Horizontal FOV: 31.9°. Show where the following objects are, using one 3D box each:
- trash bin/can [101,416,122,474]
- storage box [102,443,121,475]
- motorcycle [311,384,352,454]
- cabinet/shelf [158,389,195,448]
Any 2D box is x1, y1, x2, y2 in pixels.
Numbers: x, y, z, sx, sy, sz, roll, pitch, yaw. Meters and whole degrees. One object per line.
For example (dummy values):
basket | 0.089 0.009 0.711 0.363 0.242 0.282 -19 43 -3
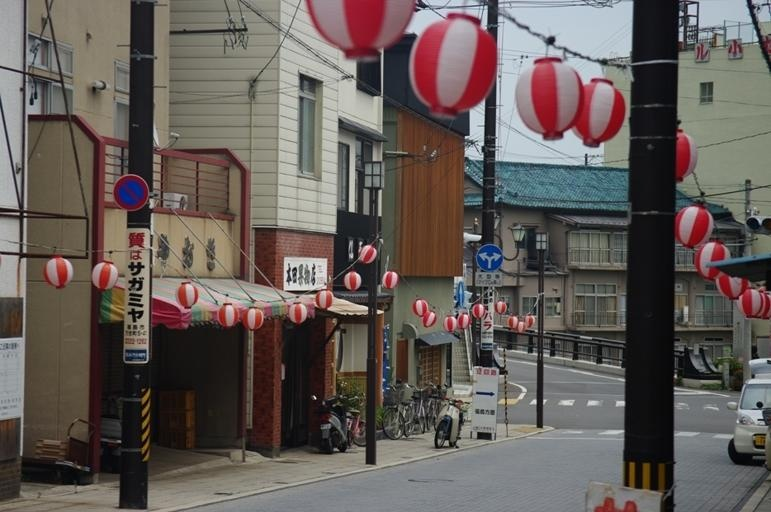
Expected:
trash bin/can | -7.291 4.880 35.287 0.700 1.607 0.763 0 -3 3
storage box | -7.215 5.214 34.945 0.454 0.784 0.251 0 -4 -7
motorcycle | -1.571 4.920 39.565 0.944 1.644 1.613 -1 -5 0
cabinet/shelf | -5.858 4.509 37.616 0.851 1.684 0.745 0 -2 -2
